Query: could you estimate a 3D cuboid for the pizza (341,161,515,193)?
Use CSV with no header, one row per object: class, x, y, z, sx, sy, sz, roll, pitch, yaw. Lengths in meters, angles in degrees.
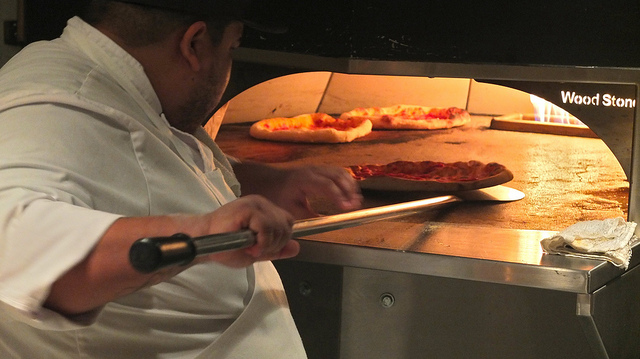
pizza,0.442,-0.013,2.426,0.504,0.061,0.248,-2,5,-4
